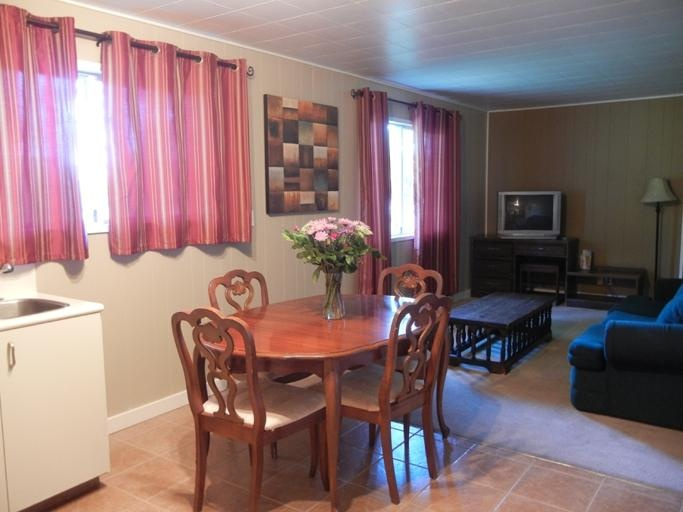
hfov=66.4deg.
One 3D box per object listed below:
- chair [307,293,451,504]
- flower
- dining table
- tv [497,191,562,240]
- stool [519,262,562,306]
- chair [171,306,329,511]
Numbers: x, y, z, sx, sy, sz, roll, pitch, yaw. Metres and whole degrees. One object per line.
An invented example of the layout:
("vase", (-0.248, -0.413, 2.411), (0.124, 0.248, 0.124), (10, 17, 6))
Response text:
("chair", (0.250, 0.822, 3.295), (0.752, 1.179, 0.753), (2, 6, 32))
("flower", (-0.046, 0.052, 3.608), (0.683, 0.720, 0.702), (0, 11, 2))
("dining table", (-0.046, 0.611, 3.247), (1.144, 1.134, 1.423), (6, 9, 33))
("tv", (2.771, -0.600, 7.781), (1.065, 0.921, 0.624), (1, 2, 29))
("stool", (2.920, 0.330, 7.683), (0.775, 0.749, 0.606), (0, 1, 36))
("chair", (-0.567, 0.806, 3.090), (0.752, 1.201, 0.814), (-11, 16, -40))
